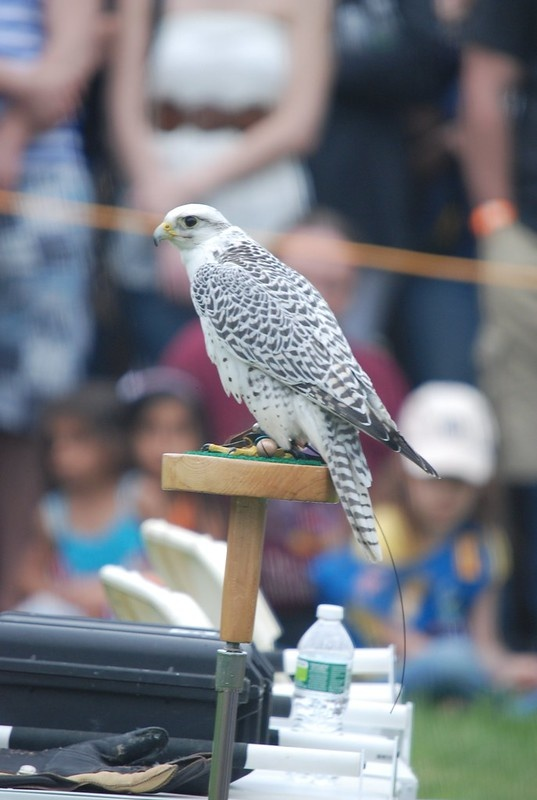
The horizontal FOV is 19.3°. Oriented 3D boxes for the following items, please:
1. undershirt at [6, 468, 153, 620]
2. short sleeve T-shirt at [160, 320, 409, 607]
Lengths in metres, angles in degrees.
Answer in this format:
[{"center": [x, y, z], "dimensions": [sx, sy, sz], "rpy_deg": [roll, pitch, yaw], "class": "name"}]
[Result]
[{"center": [-0.704, 0.555, 6.035], "dimensions": [0.496, 0.374, 0.441], "rpy_deg": [0, 41, 2], "class": "undershirt"}, {"center": [-0.245, 0.241, 6.478], "dimensions": [1.282, 0.999, 0.898], "rpy_deg": [5, 1, -11], "class": "short sleeve T-shirt"}]
